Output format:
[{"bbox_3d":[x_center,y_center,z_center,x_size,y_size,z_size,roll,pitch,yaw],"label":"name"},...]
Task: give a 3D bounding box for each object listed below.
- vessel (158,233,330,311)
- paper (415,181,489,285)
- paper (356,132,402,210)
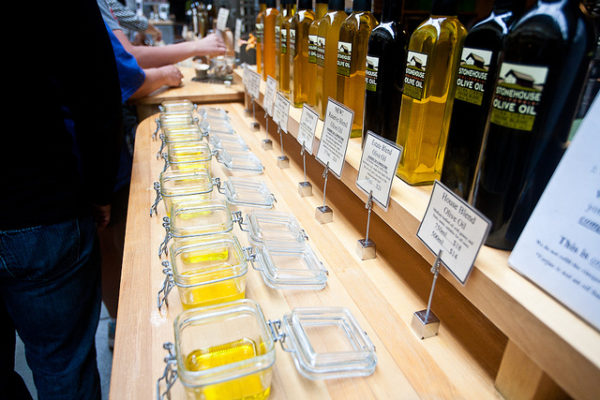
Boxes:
[{"bbox_3d":[-0.145,0.177,1.068,0.401,0.135,0.224,-5,33,-17],"label":"vessel"},{"bbox_3d":[0.346,0.070,0.850,0.017,0.183,0.183,1,34,-29],"label":"paper"},{"bbox_3d":[0.219,-0.078,1.031,0.013,0.178,0.155,-1,27,-23],"label":"paper"}]
